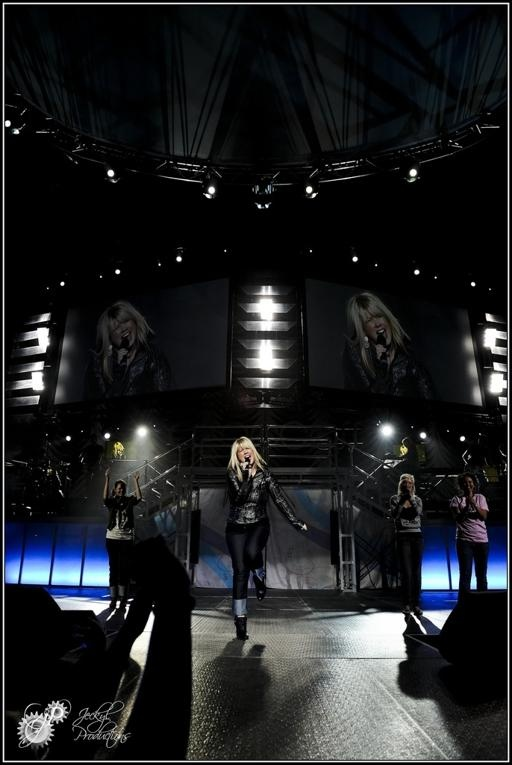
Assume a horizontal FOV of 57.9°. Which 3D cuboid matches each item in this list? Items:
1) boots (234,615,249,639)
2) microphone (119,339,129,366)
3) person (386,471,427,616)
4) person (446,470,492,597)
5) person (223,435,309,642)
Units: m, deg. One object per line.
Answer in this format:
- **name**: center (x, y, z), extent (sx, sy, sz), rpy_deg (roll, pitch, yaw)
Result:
- **boots**: center (-0.116, 1.952, 3.739), extent (0.147, 0.244, 0.124), rpy_deg (0, -19, -3)
- **microphone**: center (-4.733, -1.122, 16.667), extent (0.207, 1.104, 0.258), rpy_deg (-1, -3, 11)
- **person**: center (1.860, 1.930, 5.601), extent (0.345, 1.626, 0.692), rpy_deg (-4, -11, 18)
- **person**: center (2.851, 1.956, 6.090), extent (0.425, 1.537, 0.768), rpy_deg (-6, -11, 25)
- **person**: center (-0.032, 1.302, 4.242), extent (0.480, 1.601, 0.872), rpy_deg (-9, -13, 37)
